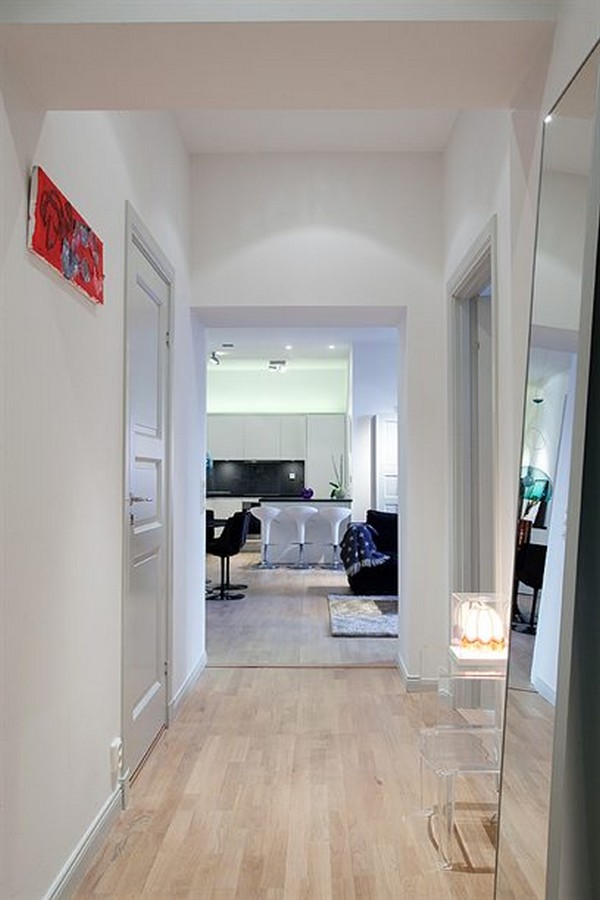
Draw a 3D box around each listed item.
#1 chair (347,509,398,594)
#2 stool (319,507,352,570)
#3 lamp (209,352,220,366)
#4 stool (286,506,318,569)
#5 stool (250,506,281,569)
[{"bbox_3d":[0.909,1.243,6.790,0.551,0.935,0.753,1,-10,-1],"label":"chair"},{"bbox_3d":[0.511,1.263,8.092,0.435,1.493,0.443,2,10,10],"label":"stool"},{"bbox_3d":[-1.393,-1.483,8.982,0.099,0.223,0.215,1,3,1],"label":"lamp"},{"bbox_3d":[0.047,1.313,8.370,0.360,0.926,0.748,0,-4,2],"label":"stool"},{"bbox_3d":[-0.514,1.321,8.499,0.411,0.949,0.642,0,-4,-1],"label":"stool"}]
